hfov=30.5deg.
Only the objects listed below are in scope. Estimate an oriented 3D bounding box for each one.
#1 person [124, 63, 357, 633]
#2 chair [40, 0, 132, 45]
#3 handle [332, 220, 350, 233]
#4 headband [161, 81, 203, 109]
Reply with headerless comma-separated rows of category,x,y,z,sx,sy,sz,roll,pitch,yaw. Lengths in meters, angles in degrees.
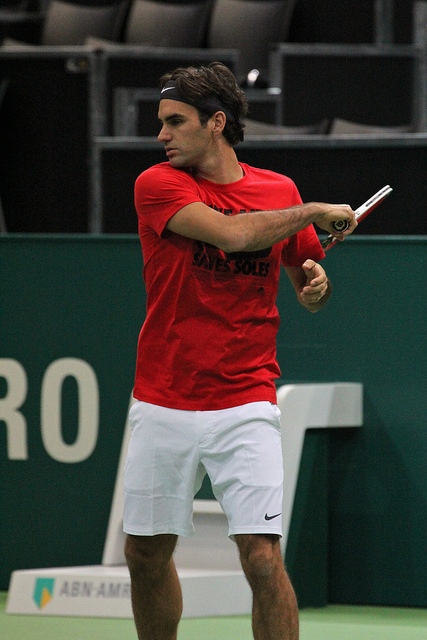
person,0.038,0.092,1.860,0.487,1.369,0.451,6,15,24
chair,-1.348,-2.967,7.899,0.470,0.453,0.948,6,13,23
handle,0.294,-0.218,1.815,0.029,0.027,0.010,5,19,2
headband,-0.077,-0.517,1.805,0.101,0.062,0.032,8,15,31
